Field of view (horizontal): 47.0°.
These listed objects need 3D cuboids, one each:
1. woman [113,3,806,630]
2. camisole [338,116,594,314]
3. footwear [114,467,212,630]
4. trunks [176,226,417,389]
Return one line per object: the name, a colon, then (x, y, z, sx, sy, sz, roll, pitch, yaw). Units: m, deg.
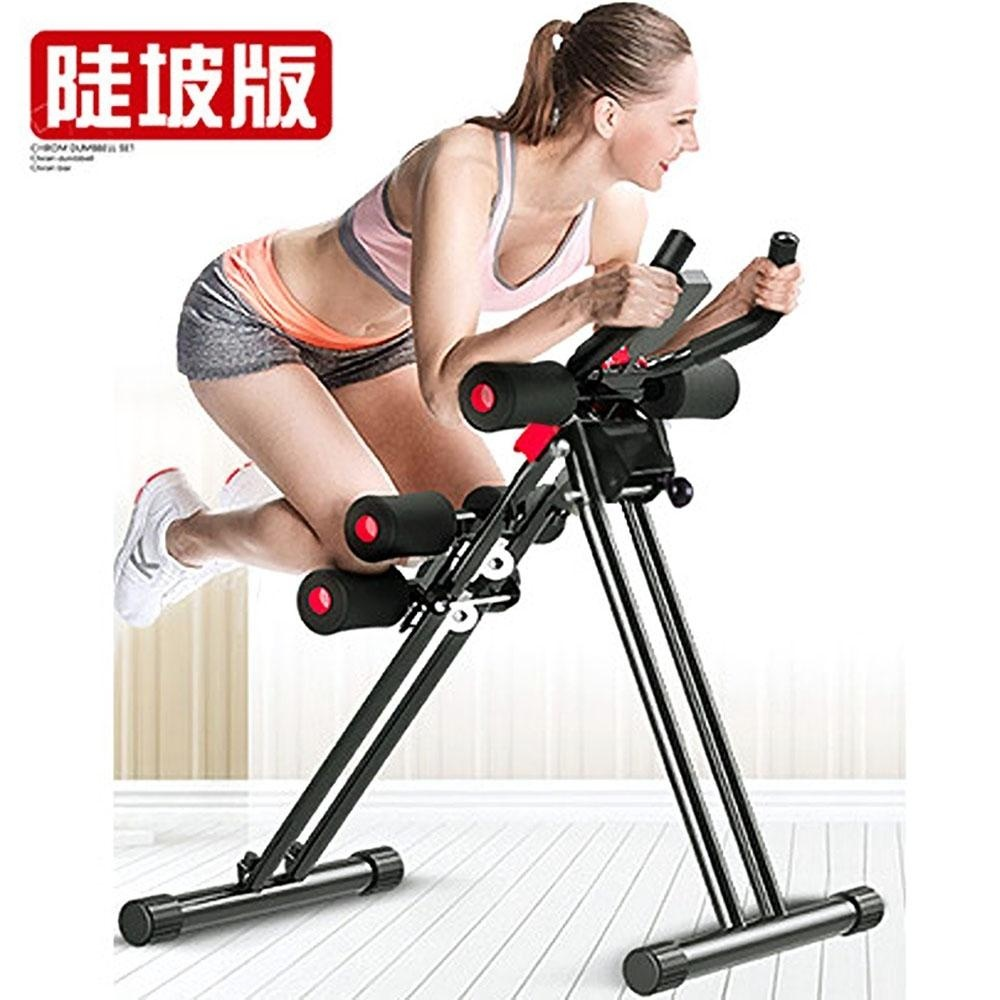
woman: (-0.121, -0.366, 2.101, 0.914, 1.143, 0.759, -4, 10, -33)
camisole: (-0.103, -0.491, 1.994, 0.307, 0.279, 0.483, 9, 17, 21)
footwear: (-0.724, 0.106, 2.418, 0.182, 0.355, 0.160, 23, -1, 30)
trunks: (-0.421, -0.403, 2.233, 0.372, 0.309, 0.356, -11, 20, -40)
